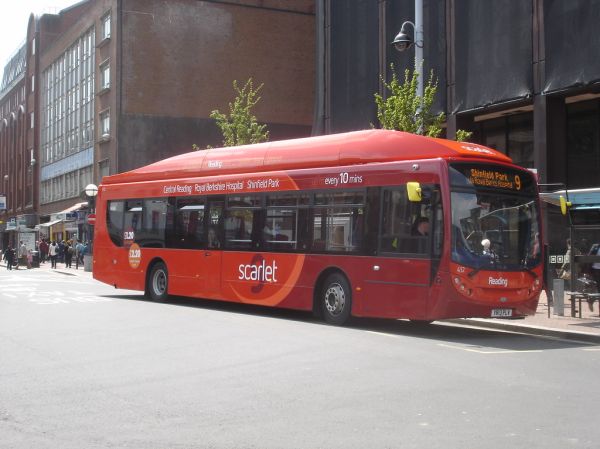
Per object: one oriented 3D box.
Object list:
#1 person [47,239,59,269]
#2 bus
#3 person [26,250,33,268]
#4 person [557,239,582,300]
[{"bbox_3d":[-17.206,2.161,40.714,0.511,1.875,1.064,1,-1,-25],"label":"person"},{"bbox_3d":[-0.883,0.113,15.869,14.070,4.429,2.719,-1,-2,41],"label":"bus"},{"bbox_3d":[-19.445,2.560,41.959,0.395,1.243,1.117,1,-2,-26],"label":"person"},{"bbox_3d":[7.500,1.040,16.302,0.512,1.366,4.053,0,-3,24],"label":"person"}]
